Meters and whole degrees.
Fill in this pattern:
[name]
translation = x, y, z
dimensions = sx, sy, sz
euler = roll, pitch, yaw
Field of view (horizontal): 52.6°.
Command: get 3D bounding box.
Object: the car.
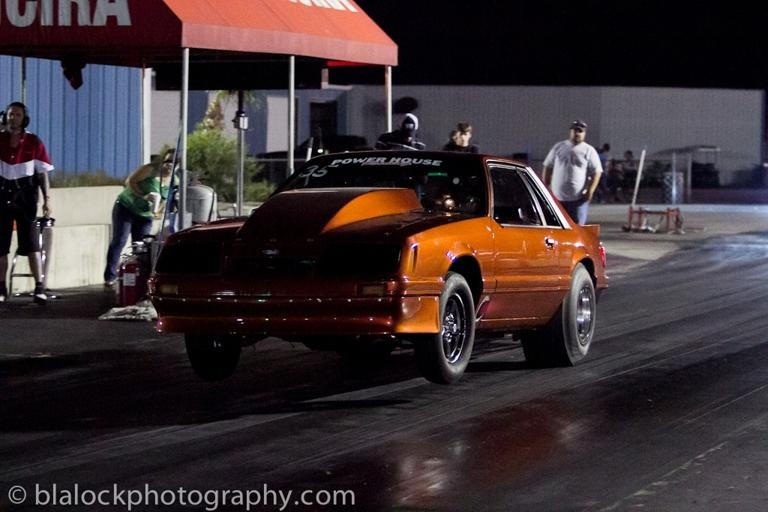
[car]
translation = 0.404, 0.107, 7.098
dimensions = 2.061, 1.411, 3.667
euler = -2, -4, 33
